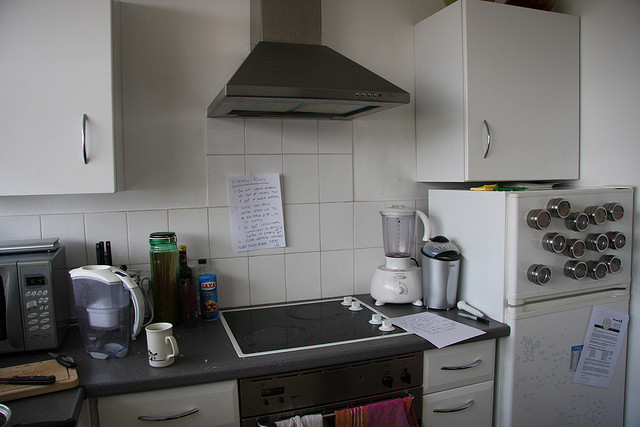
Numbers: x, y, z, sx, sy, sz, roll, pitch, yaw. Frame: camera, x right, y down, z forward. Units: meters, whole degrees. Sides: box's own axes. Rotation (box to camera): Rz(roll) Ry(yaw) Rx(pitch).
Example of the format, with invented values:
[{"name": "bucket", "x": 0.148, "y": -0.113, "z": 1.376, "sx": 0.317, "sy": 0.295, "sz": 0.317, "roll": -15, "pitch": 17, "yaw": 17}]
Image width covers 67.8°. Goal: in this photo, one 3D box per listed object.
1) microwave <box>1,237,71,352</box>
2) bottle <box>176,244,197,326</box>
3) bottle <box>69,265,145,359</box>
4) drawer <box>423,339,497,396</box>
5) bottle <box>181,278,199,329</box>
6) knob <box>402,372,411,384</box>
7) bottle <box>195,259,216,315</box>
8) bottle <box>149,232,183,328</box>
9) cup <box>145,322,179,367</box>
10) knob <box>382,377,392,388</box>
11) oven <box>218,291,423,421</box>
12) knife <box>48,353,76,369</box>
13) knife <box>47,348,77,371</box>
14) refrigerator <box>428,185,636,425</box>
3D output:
[{"name": "microwave", "x": -1.312, "y": 0.365, "z": 2.208, "sx": 0.233, "sy": 0.492, "sz": 0.310, "roll": -5, "pitch": 4, "yaw": -15}, {"name": "bottle", "x": -0.680, "y": 0.357, "z": 2.409, "sx": 0.081, "sy": 0.389, "sz": 0.198, "roll": -5, "pitch": 4, "yaw": -16}, {"name": "bottle", "x": -0.918, "y": 0.432, "z": 2.082, "sx": 0.294, "sy": 0.395, "sz": 0.075, "roll": -3, "pitch": 4, "yaw": 10}, {"name": "drawer", "x": 0.661, "y": 0.706, "z": 2.378, "sx": 0.390, "sy": 0.230, "sz": 0.263, "roll": -7, "pitch": 13, "yaw": -13}, {"name": "bottle", "x": -0.643, "y": 0.438, "z": 2.349, "sx": 0.075, "sy": 0.243, "sz": 0.060, "roll": -5, "pitch": 4, "yaw": -17}, {"name": "knob", "x": 0.399, "y": 0.750, "z": 2.184, "sx": 0.033, "sy": 0.047, "sz": 0.019, "roll": -1, "pitch": 6, "yaw": -7}, {"name": "bottle", "x": -0.623, "y": 0.383, "z": 2.493, "sx": 0.111, "sy": 0.287, "sz": 0.141, "roll": -2, "pitch": 4, "yaw": 13}, {"name": "bottle", "x": -0.770, "y": 0.319, "z": 2.380, "sx": 0.140, "sy": 0.431, "sz": 0.133, "roll": -3, "pitch": 1, "yaw": 0}, {"name": "cup", "x": -0.675, "y": 0.560, "z": 2.069, "sx": 0.112, "sy": 0.159, "sz": 0.177, "roll": -6, "pitch": 9, "yaw": -45}, {"name": "knob", "x": 0.310, "y": 0.761, "z": 2.160, "sx": 0.029, "sy": 0.043, "sz": 0.016, "roll": -1, "pitch": -1, "yaw": 1}, {"name": "oven", "x": -0.004, "y": 0.745, "z": 2.347, "sx": 0.891, "sy": 0.483, "sz": 0.630, "roll": -4, "pitch": 4, "yaw": -13}, {"name": "knife", "x": -1.080, "y": 0.608, "z": 2.010, "sx": 0.119, "sy": 0.024, "sz": 0.047, "roll": 12, "pitch": 11, "yaw": 23}, {"name": "knife", "x": -1.092, "y": 0.608, "z": 2.022, "sx": 0.154, "sy": 0.029, "sz": 0.067, "roll": 14, "pitch": 17, "yaw": 31}, {"name": "refrigerator", "x": 1.106, "y": 0.398, "z": 2.884, "sx": 1.122, "sy": 1.156, "sz": 0.842, "roll": -2, "pitch": 9, "yaw": -11}]
